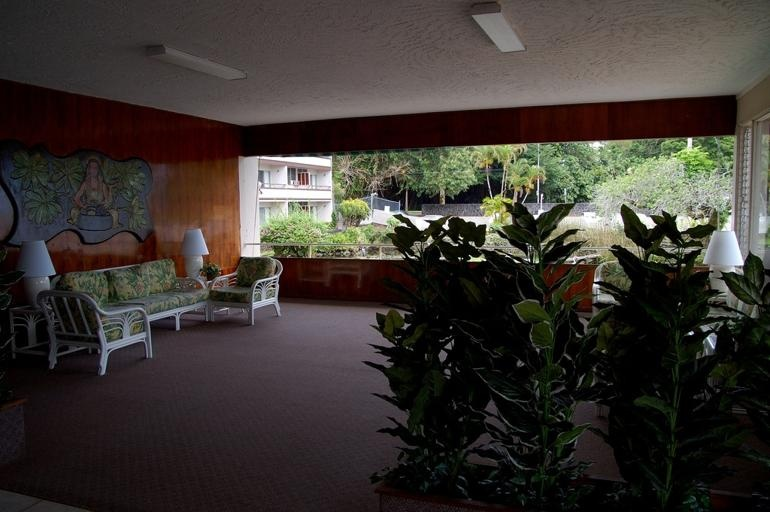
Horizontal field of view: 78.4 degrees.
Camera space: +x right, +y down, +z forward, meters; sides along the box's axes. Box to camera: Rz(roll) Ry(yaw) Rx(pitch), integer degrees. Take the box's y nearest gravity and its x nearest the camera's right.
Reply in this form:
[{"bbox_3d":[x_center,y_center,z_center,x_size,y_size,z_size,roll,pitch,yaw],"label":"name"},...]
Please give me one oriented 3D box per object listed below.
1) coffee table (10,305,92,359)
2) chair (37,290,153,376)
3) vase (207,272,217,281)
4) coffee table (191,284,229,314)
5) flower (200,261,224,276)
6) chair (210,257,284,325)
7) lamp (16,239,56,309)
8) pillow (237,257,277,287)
[{"bbox_3d":[-4.025,0.906,5.667,0.502,0.473,0.739,-1,0,25],"label":"coffee table"},{"bbox_3d":[-3.407,0.802,5.947,0.896,1.031,1.234,2,7,20],"label":"chair"},{"bbox_3d":[-2.961,0.335,8.053,0.138,0.099,0.148,0,12,-5],"label":"vase"},{"bbox_3d":[-2.836,0.682,7.545,0.499,0.648,0.561,0,-4,25],"label":"coffee table"},{"bbox_3d":[-2.991,0.217,8.106,0.359,0.241,0.351,3,8,-20],"label":"flower"},{"bbox_3d":[-2.342,0.528,7.998,0.990,1.042,1.224,1,2,22],"label":"chair"},{"bbox_3d":[-4.329,0.225,5.851,0.354,0.826,0.422,-6,9,-38],"label":"lamp"},{"bbox_3d":[-2.200,0.245,7.989,0.553,0.539,0.205,2,-19,20],"label":"pillow"}]
